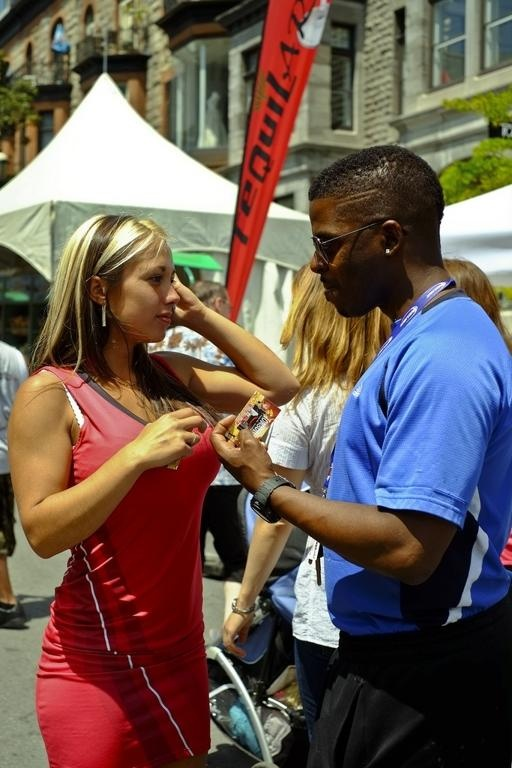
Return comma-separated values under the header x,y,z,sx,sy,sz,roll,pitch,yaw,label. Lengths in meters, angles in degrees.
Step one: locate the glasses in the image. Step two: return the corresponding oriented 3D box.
x,y,z,sx,sy,sz,roll,pitch,yaw,label
0.212,-0.300,1.594,0.116,0.032,0.105,-20,5,1,glasses
